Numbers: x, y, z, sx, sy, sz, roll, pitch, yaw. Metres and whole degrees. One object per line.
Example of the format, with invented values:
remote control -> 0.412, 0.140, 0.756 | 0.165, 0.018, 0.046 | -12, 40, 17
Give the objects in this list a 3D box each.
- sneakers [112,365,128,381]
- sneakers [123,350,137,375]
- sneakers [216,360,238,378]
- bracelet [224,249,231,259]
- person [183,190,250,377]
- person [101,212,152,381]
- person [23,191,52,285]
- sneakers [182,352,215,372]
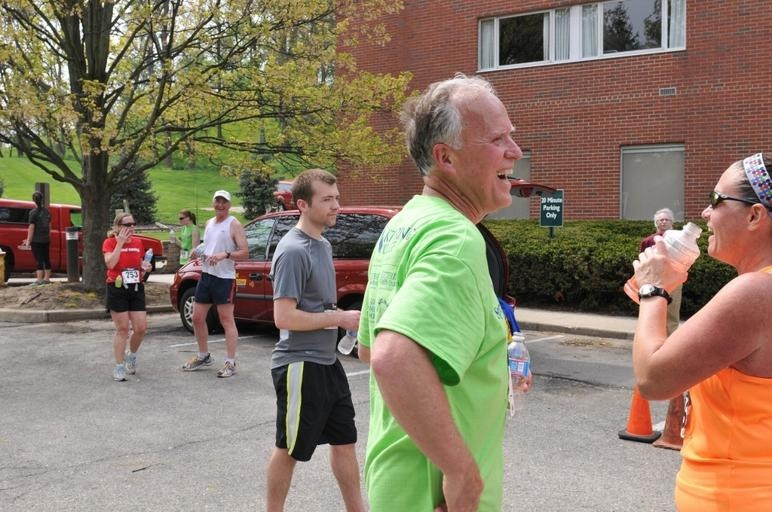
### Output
sneakers -> -3.501, 1.558, 9.036 | 0.131, 0.135, 0.305 | 0, 5, -22
sneakers -> -3.458, 1.480, 9.346 | 0.177, 0.391, 0.134 | -5, 0, 45
sneakers -> -2.132, 1.529, 9.226 | 0.290, 0.215, 0.245 | -2, 5, -29
bracelet -> -2.200, -0.006, 9.506 | 0.044, 0.075, 0.076 | 11, 9, -6
person -> -2.368, 0.349, 9.554 | 0.862, 2.508, 1.198 | 0, 5, -15
person -> -3.511, 0.537, 9.185 | 0.496, 2.183, 0.683 | -1, 5, -22
person -> -8.900, -0.456, 17.498 | 0.563, 2.360, 1.331 | -1, 5, -27
sneakers -> -2.637, 1.489, 9.593 | 0.472, 0.199, 0.186 | -8, 5, -31
